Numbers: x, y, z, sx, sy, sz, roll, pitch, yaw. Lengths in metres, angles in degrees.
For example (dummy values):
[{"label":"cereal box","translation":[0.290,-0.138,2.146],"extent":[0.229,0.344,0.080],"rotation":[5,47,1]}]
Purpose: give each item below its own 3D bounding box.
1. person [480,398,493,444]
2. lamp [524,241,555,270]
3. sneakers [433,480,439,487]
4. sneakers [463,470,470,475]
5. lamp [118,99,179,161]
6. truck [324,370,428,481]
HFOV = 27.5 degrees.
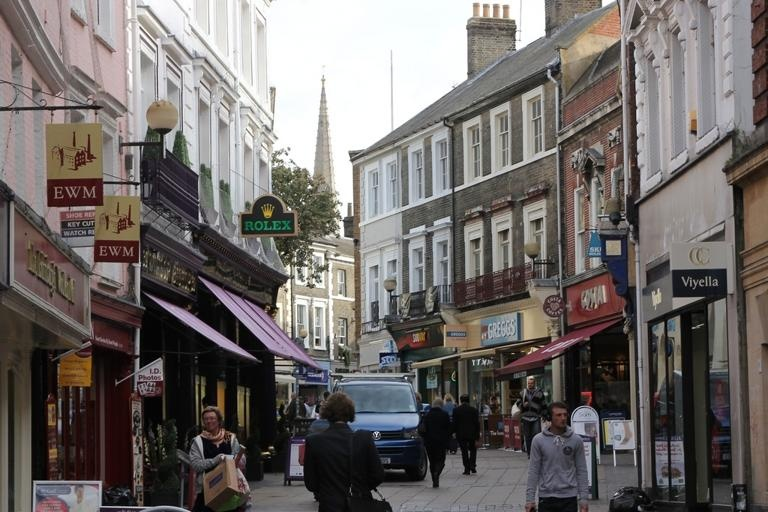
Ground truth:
[{"label":"person","translation":[3.219,5.338,49.486],"extent":[0.284,0.915,0.921],"rotation":[-1,-3,2]},{"label":"lamp","translation":[4.990,-0.065,50.862],"extent":[0.869,1.079,1.706],"rotation":[-4,-19,4]},{"label":"sneakers","translation":[1.143,5.126,34.816],"extent":[0.119,0.127,0.111],"rotation":[0,-1,20]},{"label":"sneakers","translation":[1.951,5.181,37.297],"extent":[0.088,0.125,0.165],"rotation":[6,-8,-42]},{"label":"lamp","translation":[-4.874,-2.593,32.243],"extent":[1.210,1.253,0.653],"rotation":[-2,-1,-16]},{"label":"truck","translation":[0.044,4.003,37.037],"extent":[1.601,1.776,3.093],"rotation":[-1,-11,-2]}]
